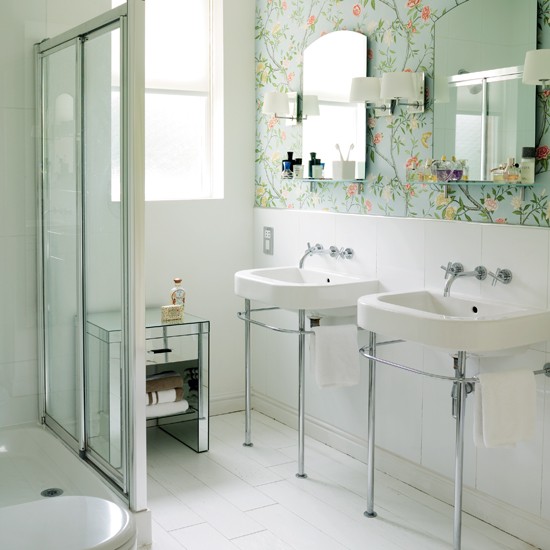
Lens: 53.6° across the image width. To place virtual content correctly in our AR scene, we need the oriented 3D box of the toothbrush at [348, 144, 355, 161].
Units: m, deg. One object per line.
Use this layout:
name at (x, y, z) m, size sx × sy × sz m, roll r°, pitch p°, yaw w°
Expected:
toothbrush at (0.378, -0.614, 2.718) m, size 0.044 × 0.076 × 0.006 m, roll 3°, pitch 6°, yaw 41°

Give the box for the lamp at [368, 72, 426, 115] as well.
lamp at (0.545, -0.796, 2.418) m, size 0.212 × 0.181 × 0.397 m, roll 0°, pitch 4°, yaw 3°

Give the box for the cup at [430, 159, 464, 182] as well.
cup at (0.689, -0.408, 2.171) m, size 0.095 × 0.062 × 0.085 m, roll 4°, pitch 7°, yaw 38°

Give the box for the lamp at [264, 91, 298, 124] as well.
lamp at (0.038, -0.935, 3.092) m, size 0.129 × 0.146 × 0.206 m, roll 1°, pitch 3°, yaw 27°

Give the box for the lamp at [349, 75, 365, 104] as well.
lamp at (0.366, -0.823, 2.440) m, size 0.086 × 0.110 × 0.093 m, roll -2°, pitch -5°, yaw -9°

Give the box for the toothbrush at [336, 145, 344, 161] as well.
toothbrush at (0.329, -0.628, 2.780) m, size 0.011 × 0.087 × 0.068 m, roll -2°, pitch 5°, yaw -23°

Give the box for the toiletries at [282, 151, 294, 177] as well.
toiletries at (0.073, -0.621, 3.080) m, size 0.056 × 0.148 × 0.093 m, roll 0°, pitch 4°, yaw 2°

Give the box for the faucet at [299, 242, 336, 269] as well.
faucet at (0.226, -0.113, 2.926) m, size 0.240 × 0.157 × 0.090 m, roll -1°, pitch 9°, yaw 35°

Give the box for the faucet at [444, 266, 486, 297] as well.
faucet at (0.736, 0.015, 2.128) m, size 0.217 × 0.089 × 0.073 m, roll -7°, pitch 6°, yaw -38°

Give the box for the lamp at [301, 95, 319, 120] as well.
lamp at (0.191, -0.909, 2.987) m, size 0.104 × 0.128 × 0.110 m, roll -2°, pitch 9°, yaw -15°

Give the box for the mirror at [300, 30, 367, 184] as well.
mirror at (0.306, -0.866, 2.833) m, size 0.066 × 0.775 × 0.511 m, roll -3°, pitch 5°, yaw -30°

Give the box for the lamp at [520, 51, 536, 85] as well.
lamp at (0.841, -0.679, 1.797) m, size 0.041 × 0.106 × 0.140 m, roll 1°, pitch 5°, yaw 24°

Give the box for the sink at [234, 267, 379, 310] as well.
sink at (0.130, 0.075, 2.688) m, size 0.544 × 0.189 × 0.606 m, roll -4°, pitch 5°, yaw -35°
